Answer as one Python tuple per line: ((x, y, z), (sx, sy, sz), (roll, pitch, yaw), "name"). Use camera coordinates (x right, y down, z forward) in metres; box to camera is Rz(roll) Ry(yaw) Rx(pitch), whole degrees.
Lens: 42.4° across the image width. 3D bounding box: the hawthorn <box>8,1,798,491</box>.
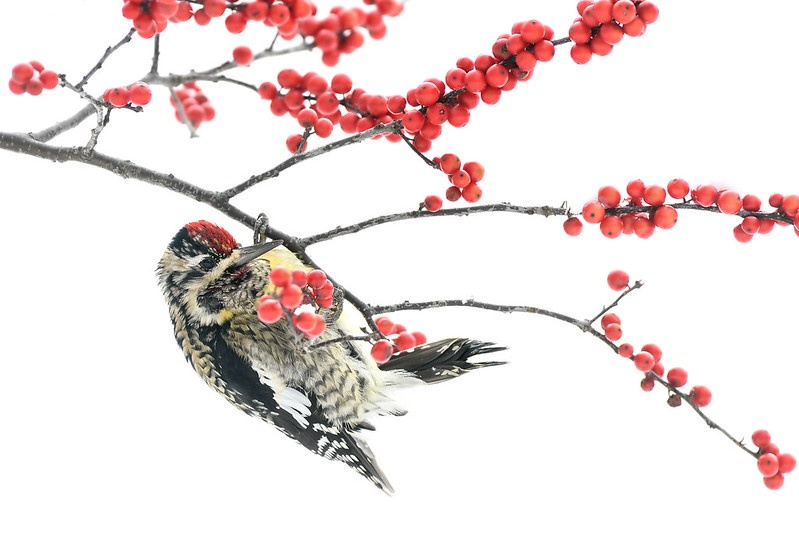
((0.047, -0.270, 4.188), (2.612, 1.976, 0.907), (26, -67, -13), "hawthorn")
